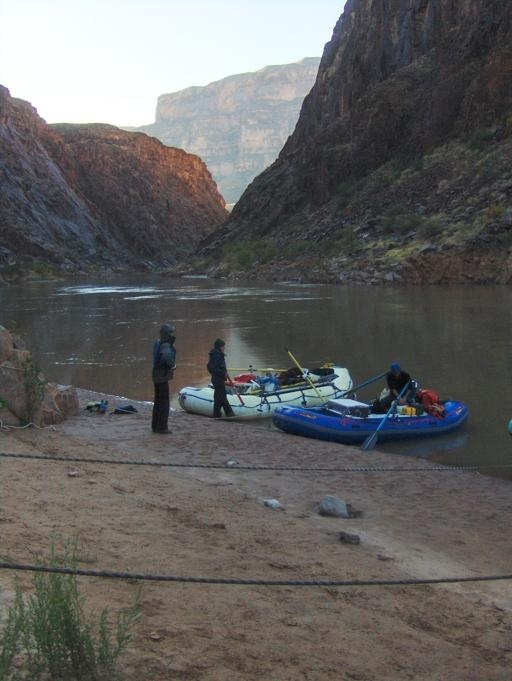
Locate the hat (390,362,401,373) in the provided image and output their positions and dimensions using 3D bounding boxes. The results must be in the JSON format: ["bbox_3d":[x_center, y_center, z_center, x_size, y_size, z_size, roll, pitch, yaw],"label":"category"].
[{"bbox_3d":[2.468,0.478,14.038,0.114,0.132,0.137,11,-38,15],"label":"hat"}]

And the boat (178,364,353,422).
[{"bbox_3d":[0.383,0.975,15.092,2.598,0.524,1.386,-5,8,-29],"label":"boat"}]

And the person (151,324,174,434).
[{"bbox_3d":[-1.456,0.596,12.411,0.327,1.528,0.971,2,-1,-7],"label":"person"}]

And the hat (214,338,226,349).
[{"bbox_3d":[-0.636,0.052,13.795,0.178,0.199,0.230,14,15,35],"label":"hat"}]

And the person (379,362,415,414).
[{"bbox_3d":[2.541,0.873,14.265,0.629,0.814,0.598,-12,19,14],"label":"person"}]

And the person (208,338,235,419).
[{"bbox_3d":[-0.606,0.673,14.070,0.466,1.233,0.923,2,-1,-3],"label":"person"}]
